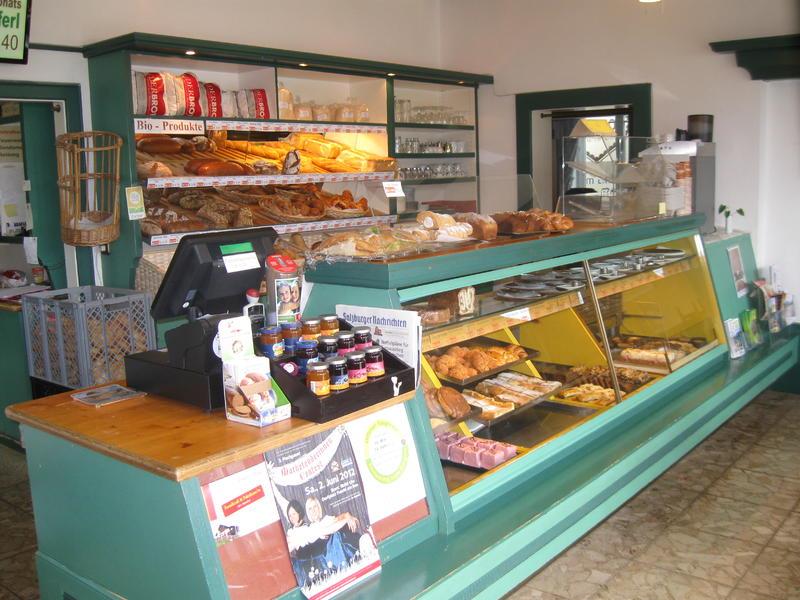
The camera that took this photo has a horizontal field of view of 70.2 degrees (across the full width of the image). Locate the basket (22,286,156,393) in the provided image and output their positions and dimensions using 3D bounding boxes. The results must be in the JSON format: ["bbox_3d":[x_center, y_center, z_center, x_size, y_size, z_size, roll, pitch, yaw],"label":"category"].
[{"bbox_3d":[-2.109,0.246,3.871,0.838,0.619,0.482,7,16,37],"label":"basket"}]

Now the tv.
[{"bbox_3d":[-0.695,-0.097,2.163,0.500,0.327,0.213,-6,13,-17],"label":"tv"}]

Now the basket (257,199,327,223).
[{"bbox_3d":[-0.993,-0.836,5.358,0.353,0.098,0.376,12,14,37],"label":"basket"}]

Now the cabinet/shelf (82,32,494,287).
[{"bbox_3d":[-1.044,-1.184,4.650,0.581,1.494,3.585,6,11,42],"label":"cabinet/shelf"}]
